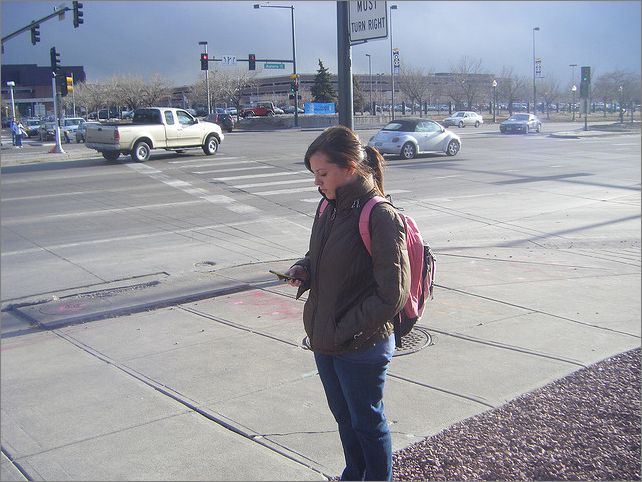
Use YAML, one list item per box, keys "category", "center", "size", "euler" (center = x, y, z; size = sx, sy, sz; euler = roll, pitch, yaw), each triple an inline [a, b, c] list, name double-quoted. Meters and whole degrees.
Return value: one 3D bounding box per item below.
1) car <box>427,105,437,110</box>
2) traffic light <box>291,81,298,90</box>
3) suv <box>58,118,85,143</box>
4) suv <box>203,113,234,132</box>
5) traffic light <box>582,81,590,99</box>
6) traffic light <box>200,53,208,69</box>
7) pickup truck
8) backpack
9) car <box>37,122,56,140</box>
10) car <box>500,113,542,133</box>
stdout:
- category: "car"
  center: [24.077, -28.906, 108.996]
  size: [1.516, 1.160, 9.517]
  euler: [2, 13, 12]
- category: "traffic light"
  center: [-2.506, -14.584, 47.230]
  size: [0.555, 1.008, 1.567]
  euler: [-3, 12, -9]
- category: "suv"
  center: [-20.553, -9.279, 41.507]
  size: [2.155, 1.800, 3.664]
  euler: [-6, 14, -24]
- category: "suv"
  center: [-9.124, -11.089, 46.018]
  size: [2.031, 1.684, 3.571]
  euler: [-6, 24, -16]
- category: "traffic light"
  center: [23.253, -13.272, 44.309]
  size: [0.659, 1.369, 0.928]
  euler: [4, 13, 23]
- category: "traffic light"
  center: [-10.592, -16.325, 45.616]
  size: [0.512, 1.384, 1.505]
  euler: [-5, 13, -19]
- category: "pickup truck"
  center: [-7.486, -4.892, 23.945]
  size: [6.200, 2.215, 2.697]
  euler: [-17, 25, -41]
- category: "backpack"
  center: [0.414, 0.087, 3.073]
  size: [0.551, 0.529, 0.395]
  euler: [2, 0, 18]
- category: "car"
  center: [-24.029, -9.657, 44.354]
  size: [1.482, 1.451, 3.123]
  euler: [-5, 10, -32]
- category: "car"
  center: [16.999, -9.933, 42.546]
  size: [3.640, 1.611, 2.213]
  euler: [-11, 16, -37]
